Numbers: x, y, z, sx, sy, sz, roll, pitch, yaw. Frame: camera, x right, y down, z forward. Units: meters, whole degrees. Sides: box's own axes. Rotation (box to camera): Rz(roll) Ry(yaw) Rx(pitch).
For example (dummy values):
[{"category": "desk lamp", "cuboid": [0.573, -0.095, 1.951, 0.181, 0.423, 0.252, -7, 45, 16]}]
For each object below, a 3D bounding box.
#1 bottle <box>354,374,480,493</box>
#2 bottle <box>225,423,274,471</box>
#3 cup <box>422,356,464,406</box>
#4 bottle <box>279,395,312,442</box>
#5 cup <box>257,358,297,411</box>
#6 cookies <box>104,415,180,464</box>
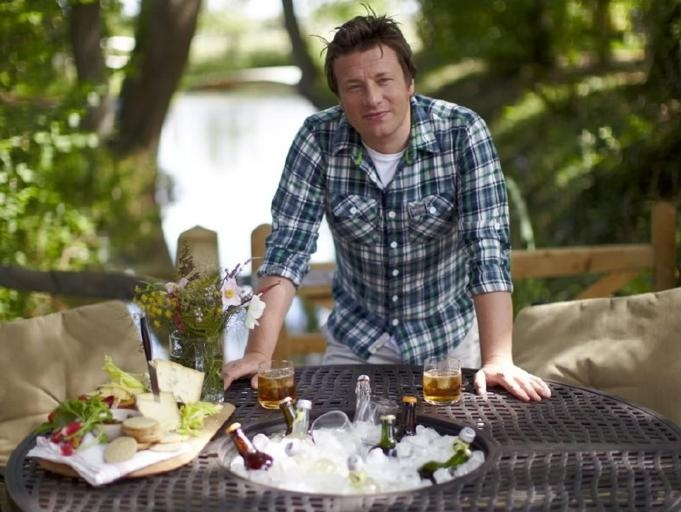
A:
[{"category": "bottle", "cuboid": [0.238, 0.565, 2.356, 0.279, 0.129, 0.288, -6, 6, 1]}, {"category": "bottle", "cuboid": [-0.281, 0.590, 2.379, 0.136, 0.133, 0.167, 0, 6, -9]}, {"category": "cup", "cuboid": [0.366, 0.444, 2.687, 0.161, 0.153, 0.112, 0, 1, 4]}, {"category": "bottle", "cuboid": [-0.145, 0.542, 2.456, 0.072, 0.186, 0.078, -1, 55, 1]}, {"category": "cup", "cuboid": [-0.221, 0.462, 2.696, 0.145, 0.155, 0.154, 0, 1, 0]}, {"category": "cookies", "cuboid": [-0.623, 0.567, 2.331, 0.171, 0.111, 0.171, 1, 10, -4]}]
